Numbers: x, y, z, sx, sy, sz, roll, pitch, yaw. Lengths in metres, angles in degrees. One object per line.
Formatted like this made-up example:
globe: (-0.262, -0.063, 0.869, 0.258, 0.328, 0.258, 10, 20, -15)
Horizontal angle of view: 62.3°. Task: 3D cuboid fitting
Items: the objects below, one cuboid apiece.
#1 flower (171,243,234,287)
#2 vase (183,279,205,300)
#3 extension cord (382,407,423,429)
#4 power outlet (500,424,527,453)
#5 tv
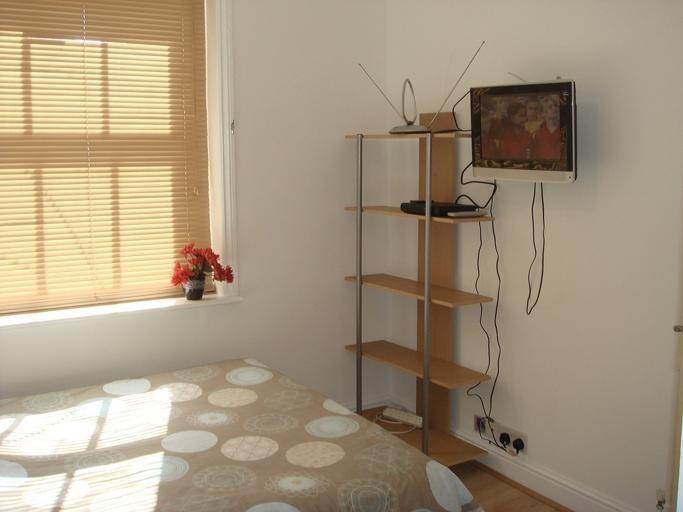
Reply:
flower: (-0.801, 0.033, 3.412, 0.300, 0.244, 0.298, 10, 14, 28)
vase: (-0.862, 0.196, 3.359, 0.126, 0.097, 0.125, -1, 3, -14)
extension cord: (0.395, 1.026, 3.637, 0.107, 0.030, 0.230, -3, 8, -45)
power outlet: (0.954, 1.038, 3.201, 0.045, 0.144, 0.197, -10, 15, -33)
tv: (0.894, -0.613, 2.754, 0.073, 0.436, 0.544, -16, 19, -41)
